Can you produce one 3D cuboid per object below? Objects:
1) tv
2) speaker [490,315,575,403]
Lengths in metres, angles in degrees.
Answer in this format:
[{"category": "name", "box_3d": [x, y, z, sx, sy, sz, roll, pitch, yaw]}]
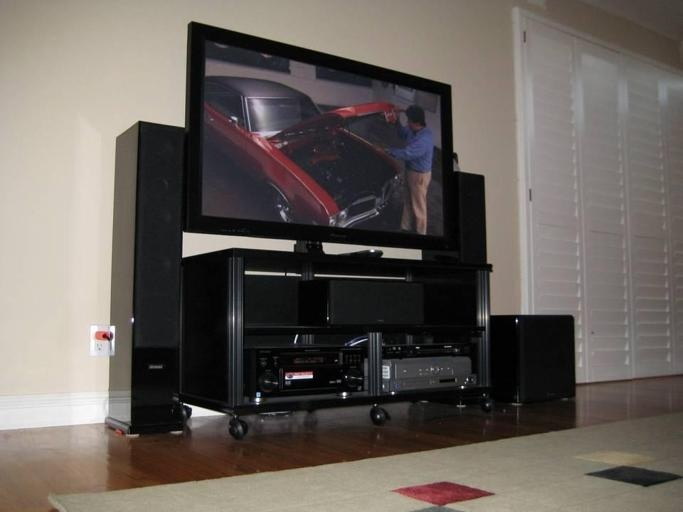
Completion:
[{"category": "tv", "box_3d": [-0.130, -0.512, 2.863, 1.317, 0.768, 0.031, 1, -5, -28]}, {"category": "speaker", "box_3d": [1.011, 0.567, 3.270, 0.461, 0.462, 0.247, 2, -8, -29]}]
